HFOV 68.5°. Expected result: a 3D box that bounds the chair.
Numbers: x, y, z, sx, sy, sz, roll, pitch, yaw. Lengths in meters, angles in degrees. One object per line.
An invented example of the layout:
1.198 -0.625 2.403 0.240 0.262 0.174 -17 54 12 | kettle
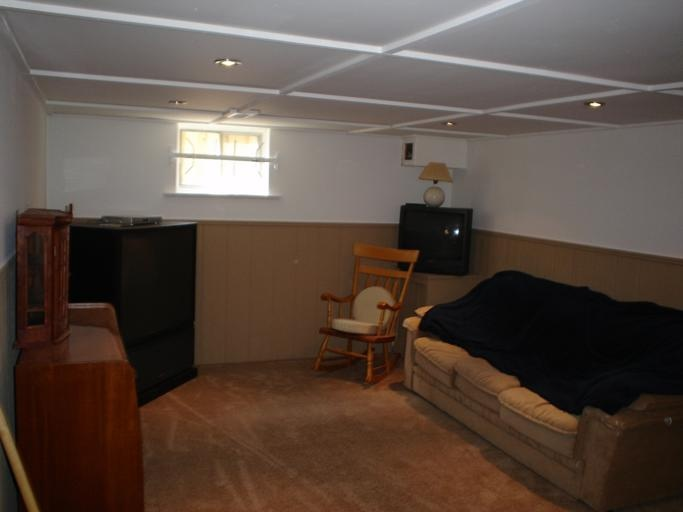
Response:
0.221 0.627 5.267 0.761 1.348 0.879 6 5 34 | chair

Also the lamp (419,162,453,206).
1.015 -0.792 5.722 0.435 0.562 0.447 0 0 -3 | lamp
